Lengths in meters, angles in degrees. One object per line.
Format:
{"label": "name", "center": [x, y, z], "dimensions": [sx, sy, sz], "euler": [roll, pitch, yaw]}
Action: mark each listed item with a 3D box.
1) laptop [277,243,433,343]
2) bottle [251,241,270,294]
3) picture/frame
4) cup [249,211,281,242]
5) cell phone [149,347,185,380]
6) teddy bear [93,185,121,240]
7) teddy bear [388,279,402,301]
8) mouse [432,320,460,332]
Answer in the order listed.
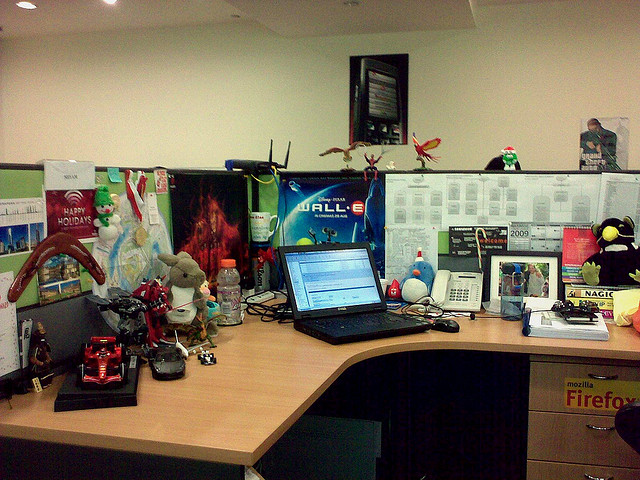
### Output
{"label": "laptop", "center": [0.090, 0.207, 1.989], "dimensions": [0.439, 0.314, 0.401], "euler": [0, -3, -33]}
{"label": "bottle", "center": [-0.299, 0.132, 2.472], "dimensions": [0.090, 0.224, 0.130], "euler": [0, 13, -9]}
{"label": "picture/frame", "center": [0.900, 0.180, 2.152], "dimensions": [0.247, 0.218, 0.021], "euler": [0, -14, 8]}
{"label": "cup", "center": [-0.287, -0.070, 2.475], "dimensions": [0.168, 0.154, 0.108], "euler": [1, -1, -30]}
{"label": "cell phone", "center": [-0.458, 0.375, 1.487], "dimensions": [0.067, 0.051, 0.118], "euler": [0, -4, -18]}
{"label": "teddy bear", "center": [-0.709, -0.086, 1.650], "dimensions": [0.049, 0.188, 0.105], "euler": [6, 14, 17]}
{"label": "teddy bear", "center": [0.341, 0.237, 2.260], "dimensions": [0.079, 0.118, 0.081], "euler": [2, -5, 0]}
{"label": "mouse", "center": [0.498, 0.326, 1.917], "dimensions": [0.046, 0.026, 0.084], "euler": [-3, 6, -34]}
